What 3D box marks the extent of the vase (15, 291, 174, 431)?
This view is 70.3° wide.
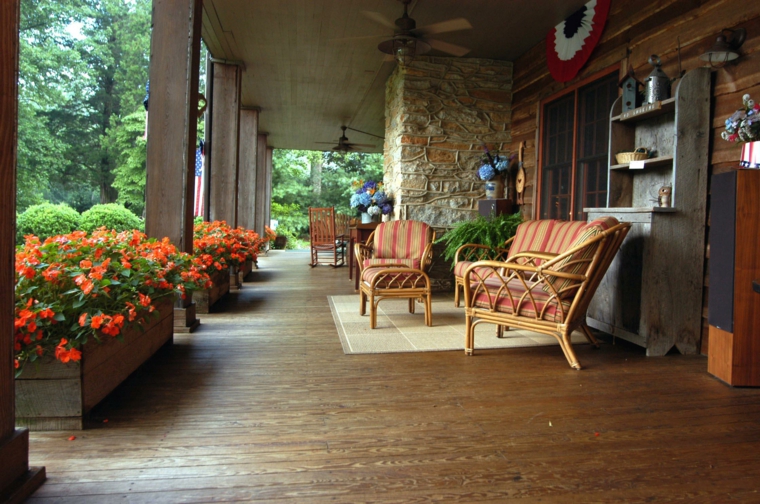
[{"bbox_3d":[-1.819,0.756,3.544,0.764,0.527,1.150,3,1,-8],"label":"vase"}]

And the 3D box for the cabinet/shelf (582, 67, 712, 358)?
[{"bbox_3d":[2.185,-0.334,4.954,0.720,2.384,1.186,-1,5,-23],"label":"cabinet/shelf"}]

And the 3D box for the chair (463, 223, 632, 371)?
[{"bbox_3d":[1.432,0.275,4.672,1.326,1.151,1.269,2,4,-22],"label":"chair"}]

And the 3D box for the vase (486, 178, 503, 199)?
[{"bbox_3d":[1.533,-0.846,7.265,0.243,0.262,0.304,2,6,10],"label":"vase"}]

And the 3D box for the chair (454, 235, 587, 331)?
[{"bbox_3d":[1.330,0.217,5.031,1.048,0.948,1.604,-9,8,-7],"label":"chair"}]

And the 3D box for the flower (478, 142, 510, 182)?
[{"bbox_3d":[1.550,-1.198,7.406,0.444,0.475,0.523,2,6,11],"label":"flower"}]

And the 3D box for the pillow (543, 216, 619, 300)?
[{"bbox_3d":[1.571,0.067,4.159,0.683,0.650,0.256,-2,8,-24],"label":"pillow"}]

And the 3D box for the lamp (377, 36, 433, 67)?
[{"bbox_3d":[0.235,-2.032,5.433,0.495,0.219,0.313,0,6,1],"label":"lamp"}]

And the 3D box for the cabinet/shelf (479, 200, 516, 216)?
[{"bbox_3d":[1.524,-0.580,7.208,0.333,0.207,0.329,0,2,38],"label":"cabinet/shelf"}]

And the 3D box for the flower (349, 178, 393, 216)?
[{"bbox_3d":[-0.130,-0.804,8.210,0.567,0.553,0.816,0,6,-5],"label":"flower"}]

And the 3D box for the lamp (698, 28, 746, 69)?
[{"bbox_3d":[2.698,-1.634,4.261,0.246,0.266,0.207,5,11,8],"label":"lamp"}]

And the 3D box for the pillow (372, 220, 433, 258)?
[{"bbox_3d":[0.228,-0.138,6.217,0.580,0.451,0.162,5,-6,24],"label":"pillow"}]

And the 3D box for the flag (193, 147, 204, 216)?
[{"bbox_3d":[-2.995,-1.011,8.858,0.043,0.911,0.218,9,12,20],"label":"flag"}]
